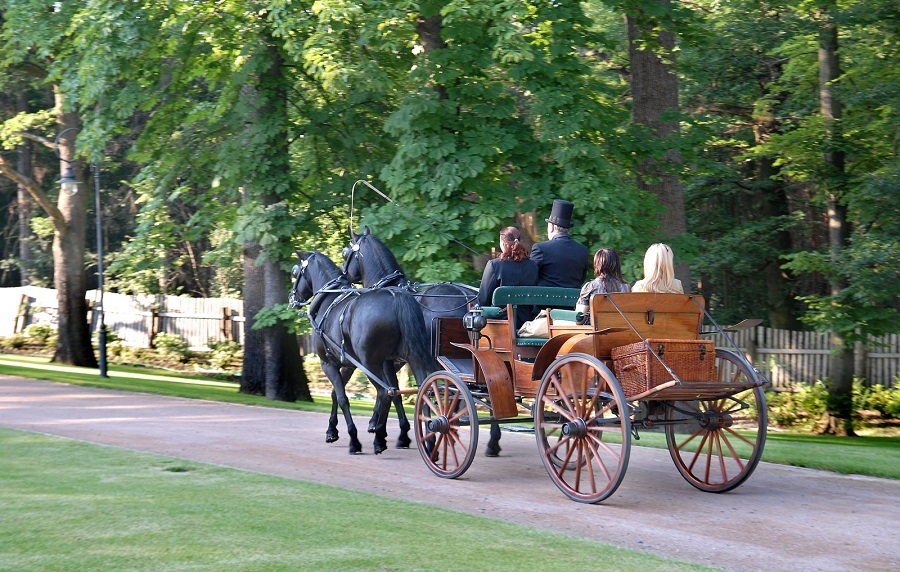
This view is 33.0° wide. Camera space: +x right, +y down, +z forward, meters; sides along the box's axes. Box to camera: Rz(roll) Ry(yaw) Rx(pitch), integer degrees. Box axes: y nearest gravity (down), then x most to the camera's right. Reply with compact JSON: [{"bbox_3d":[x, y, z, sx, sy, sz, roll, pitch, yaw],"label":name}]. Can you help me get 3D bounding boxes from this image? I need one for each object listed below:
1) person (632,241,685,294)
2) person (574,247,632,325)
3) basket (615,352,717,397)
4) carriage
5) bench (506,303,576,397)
[{"bbox_3d":[4.213,-0.363,30.994,0.846,1.099,1.151,0,0,-15],"label":"person"},{"bbox_3d":[3.639,-0.004,31.486,1.574,1.498,1.158,-7,7,23],"label":"person"},{"bbox_3d":[4.305,1.732,30.251,1.923,0.866,0.565,0,-6,-6],"label":"basket"},{"bbox_3d":[2.083,1.971,31.617,6.292,4.956,15.812,1,-2,-45],"label":"carriage"},{"bbox_3d":[2.069,1.057,31.270,1.947,1.561,1.673,-1,5,-14],"label":"bench"}]
